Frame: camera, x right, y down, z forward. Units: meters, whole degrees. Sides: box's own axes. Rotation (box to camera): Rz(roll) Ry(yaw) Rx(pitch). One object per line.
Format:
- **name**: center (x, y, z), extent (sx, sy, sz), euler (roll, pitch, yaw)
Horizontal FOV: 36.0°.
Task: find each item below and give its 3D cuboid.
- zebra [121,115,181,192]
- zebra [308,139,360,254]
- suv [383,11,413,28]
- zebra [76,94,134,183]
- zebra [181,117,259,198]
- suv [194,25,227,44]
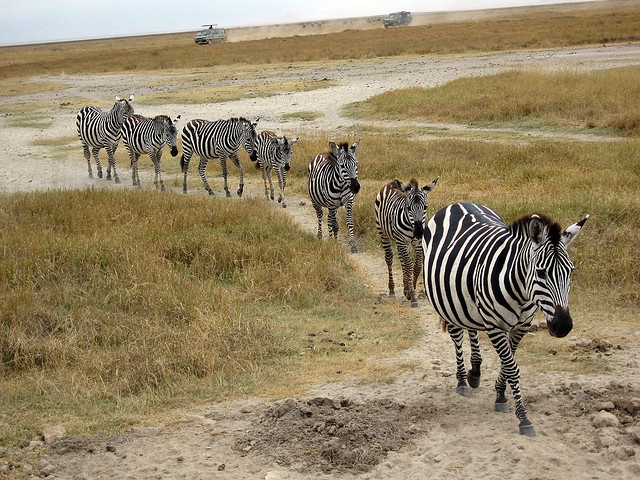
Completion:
- **zebra**: center (-5.210, -2.595, 29.869), extent (0.851, 2.457, 3.240), euler (-9, 15, -36)
- **zebra**: center (0.370, -1.006, 24.013), extent (0.838, 2.702, 1.729), euler (-15, 16, -38)
- **suv**: center (7.291, -20.786, 93.575), extent (2.109, 1.398, 5.300), euler (-3, 14, 12)
- **zebra**: center (-6.796, -3.100, 30.909), extent (1.001, 2.541, 3.327), euler (-14, 17, -40)
- **zebra**: center (-3.059, -2.444, 29.325), extent (3.262, 2.541, 0.834), euler (8, 14, 39)
- **suv**: center (-9.338, -17.163, 82.922), extent (2.120, 1.511, 4.571), euler (-6, 13, 1)
